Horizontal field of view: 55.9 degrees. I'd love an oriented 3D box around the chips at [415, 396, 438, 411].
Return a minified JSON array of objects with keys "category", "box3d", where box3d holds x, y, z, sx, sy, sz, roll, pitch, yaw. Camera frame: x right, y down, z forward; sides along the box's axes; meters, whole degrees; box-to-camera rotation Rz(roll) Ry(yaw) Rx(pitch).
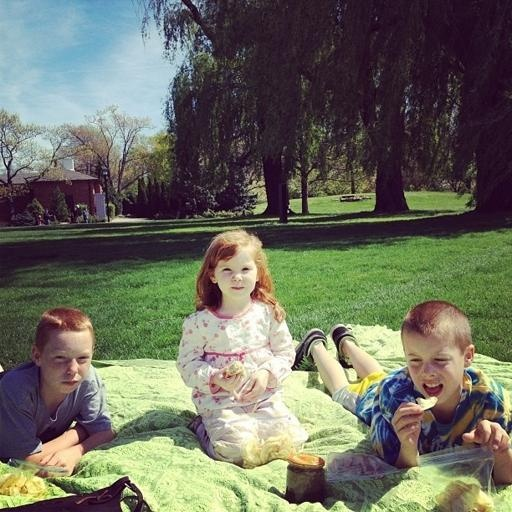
[{"category":"chips","box3d":[0.672,0.586,1.902,0.077,0.070,0.021,-24,-31,33]}]
